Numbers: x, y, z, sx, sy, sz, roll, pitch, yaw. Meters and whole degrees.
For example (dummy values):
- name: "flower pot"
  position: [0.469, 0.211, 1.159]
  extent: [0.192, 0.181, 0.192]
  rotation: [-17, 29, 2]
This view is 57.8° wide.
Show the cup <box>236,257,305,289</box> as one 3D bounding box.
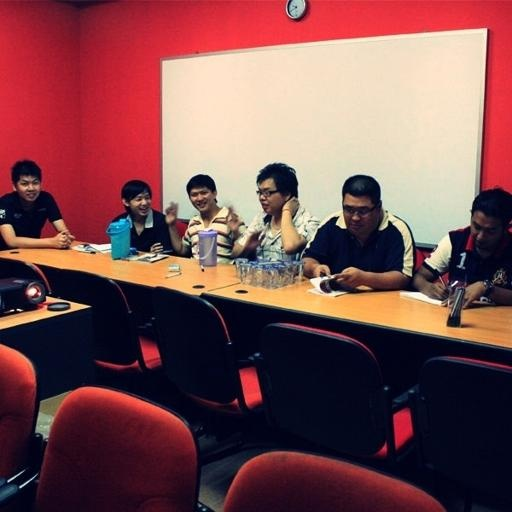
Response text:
- name: "cup"
  position: [0.032, 0.056, 2.298]
  extent: [0.212, 0.081, 0.168]
  rotation: [5, 9, 43]

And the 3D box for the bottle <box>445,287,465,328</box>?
- name: "bottle"
  position: [0.740, 0.181, 1.714]
  extent: [0.046, 0.137, 0.157]
  rotation: [6, 16, 25]

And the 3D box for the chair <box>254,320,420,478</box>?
- name: "chair"
  position: [0.256, 0.348, 1.609]
  extent: [0.403, 0.603, 0.455]
  rotation: [6, 14, 35]

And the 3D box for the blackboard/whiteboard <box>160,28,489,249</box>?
- name: "blackboard/whiteboard"
  position: [0.536, -0.839, 3.253]
  extent: [1.663, 1.129, 0.036]
  rotation: [4, 8, 33]

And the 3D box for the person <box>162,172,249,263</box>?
- name: "person"
  position: [-0.347, -0.183, 3.342]
  extent: [0.556, 0.843, 0.363]
  rotation: [-9, -6, 16]

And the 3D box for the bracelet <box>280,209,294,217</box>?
- name: "bracelet"
  position: [0.197, -0.259, 2.841]
  extent: [0.040, 0.046, 0.032]
  rotation: [9, -18, -3]

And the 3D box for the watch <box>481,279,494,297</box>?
- name: "watch"
  position: [0.964, 0.135, 1.928]
  extent: [0.055, 0.072, 0.050]
  rotation: [-4, -3, 29]

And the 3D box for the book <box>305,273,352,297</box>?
- name: "book"
  position: [0.326, 0.147, 2.192]
  extent: [0.103, 0.053, 0.130]
  rotation: [13, 16, 43]
